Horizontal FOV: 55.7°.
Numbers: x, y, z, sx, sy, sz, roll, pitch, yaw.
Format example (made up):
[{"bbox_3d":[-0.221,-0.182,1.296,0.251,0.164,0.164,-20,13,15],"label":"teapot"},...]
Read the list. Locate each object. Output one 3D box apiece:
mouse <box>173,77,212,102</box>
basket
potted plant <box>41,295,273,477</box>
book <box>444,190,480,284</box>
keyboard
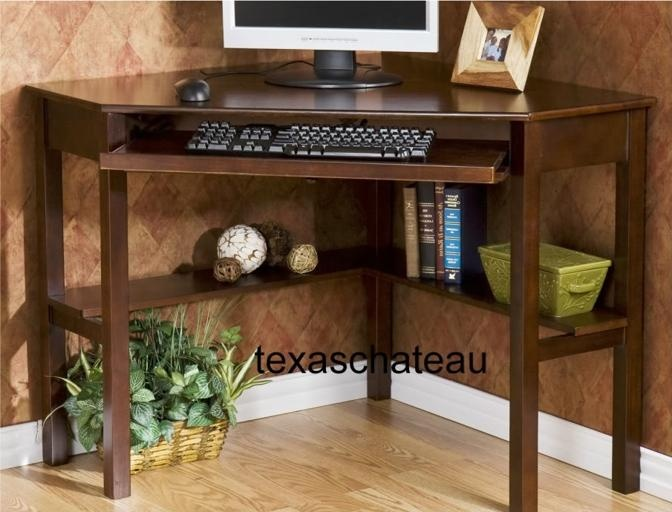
[{"bbox_3d":[-0.350,-0.402,1.550,0.065,0.064,0.114,-7,14,-31],"label":"mouse"},{"bbox_3d":[-0.465,0.515,1.813,0.280,0.113,0.186,-7,10,-29],"label":"basket"},{"bbox_3d":[-0.515,0.384,1.844,0.537,0.370,0.495,-6,18,-23],"label":"potted plant"},{"bbox_3d":[0.365,-0.058,1.869,0.126,0.229,0.230,5,12,28],"label":"book"},{"bbox_3d":[-0.062,-0.268,1.476,0.558,0.082,0.185,2,12,11],"label":"keyboard"}]
